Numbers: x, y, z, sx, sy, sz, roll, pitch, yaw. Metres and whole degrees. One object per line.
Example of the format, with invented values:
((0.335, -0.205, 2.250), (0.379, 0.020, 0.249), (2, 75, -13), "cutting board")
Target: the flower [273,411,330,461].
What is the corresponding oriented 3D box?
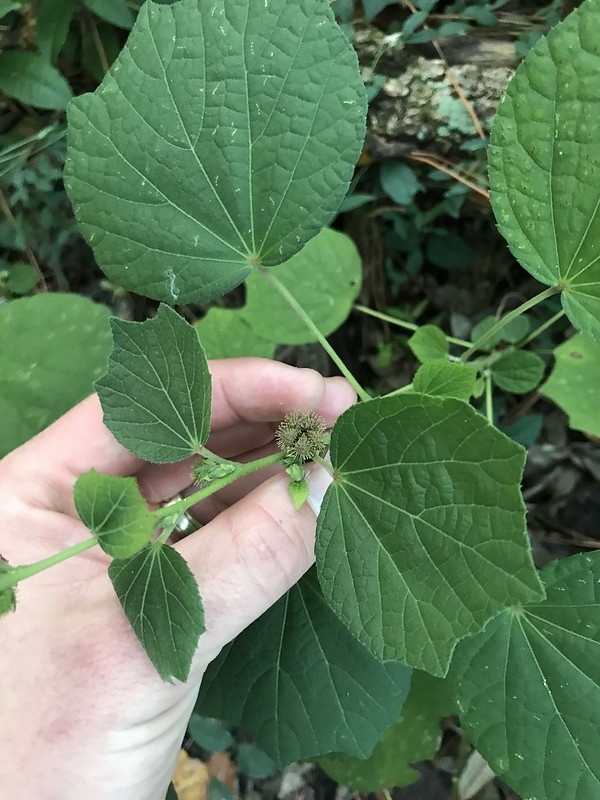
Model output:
((0.009, 0.107, 1.816), (0.149, 0.097, 0.129), (0, 70, 0), "flower")
